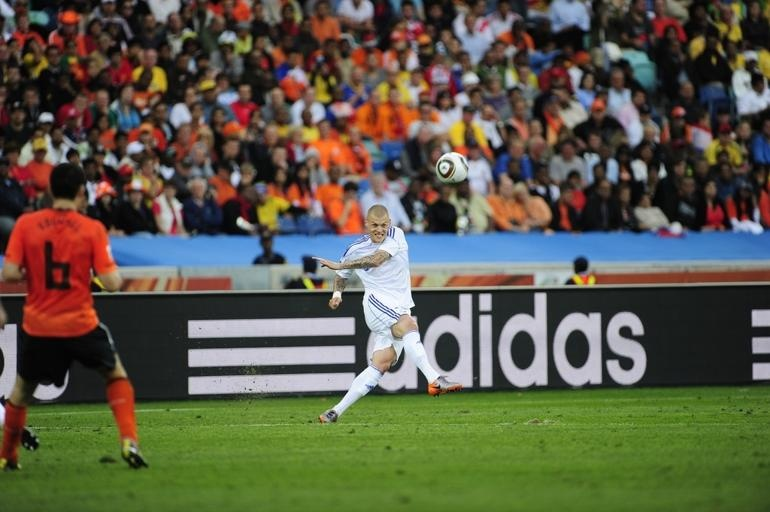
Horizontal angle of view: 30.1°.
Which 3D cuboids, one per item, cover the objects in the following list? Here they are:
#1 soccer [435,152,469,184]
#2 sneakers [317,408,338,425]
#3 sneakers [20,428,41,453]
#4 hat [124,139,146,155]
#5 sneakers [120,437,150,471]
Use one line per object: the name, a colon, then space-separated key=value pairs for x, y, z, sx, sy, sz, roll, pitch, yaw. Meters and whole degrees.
soccer: x=1.040 y=-1.375 z=22.928 sx=0.453 sy=0.483 sz=0.516 roll=1 pitch=8 yaw=-1
sneakers: x=-0.848 y=2.367 z=21.051 sx=0.278 sy=0.258 sz=0.394 roll=0 pitch=8 yaw=-4
sneakers: x=-4.984 y=2.600 z=20.021 sx=0.200 sy=0.355 sz=0.084 roll=-37 pitch=15 yaw=-19
hat: x=-4.412 y=-1.875 z=25.210 sx=0.310 sy=0.215 sz=0.220 roll=1 pitch=8 yaw=1
sneakers: x=-3.397 y=2.663 z=19.211 sx=0.211 sy=0.533 sz=0.243 roll=-31 pitch=40 yaw=1
